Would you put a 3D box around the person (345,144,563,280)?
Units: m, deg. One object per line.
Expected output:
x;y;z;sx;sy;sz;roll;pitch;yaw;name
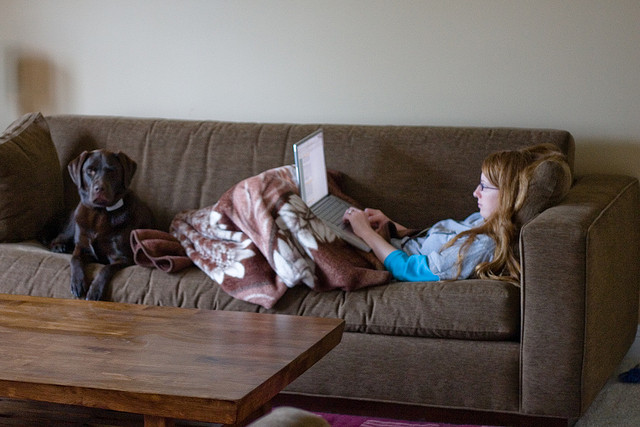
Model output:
0.603;0.022;2.464;1.029;0.365;0.689;10;17;19;person

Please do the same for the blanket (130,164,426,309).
-0.272;0.137;2.274;0.821;0.267;0.733;-4;14;12;blanket

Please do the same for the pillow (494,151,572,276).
0.872;-0.011;2.158;0.155;0.400;0.424;17;7;17;pillow

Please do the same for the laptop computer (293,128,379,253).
0.101;-0.140;2.458;0.436;0.323;0.410;11;21;3;laptop computer

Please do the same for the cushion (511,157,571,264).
0.878;-0.079;2.128;0.135;0.357;0.360;10;-10;13;cushion

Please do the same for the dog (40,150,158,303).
-1.084;-0.010;2.755;0.677;0.620;1.059;3;7;-23;dog
